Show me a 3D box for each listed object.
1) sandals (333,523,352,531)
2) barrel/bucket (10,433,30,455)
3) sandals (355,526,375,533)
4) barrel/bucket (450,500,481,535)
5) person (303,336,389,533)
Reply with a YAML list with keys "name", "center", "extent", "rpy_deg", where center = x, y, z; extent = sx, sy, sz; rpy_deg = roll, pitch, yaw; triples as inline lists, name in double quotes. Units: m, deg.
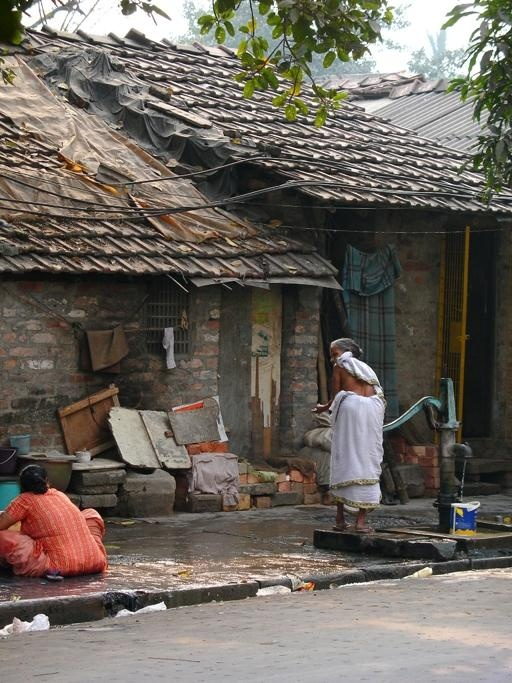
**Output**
- name: "sandals"
  center: [0.706, 1.501, 9.104]
  extent: [0.121, 0.037, 0.070]
  rpy_deg: [0, -4, 34]
- name: "barrel/bucket"
  center: [-2.154, 0.950, 10.368]
  extent: [0.174, 0.141, 0.178]
  rpy_deg: [-1, -7, 0]
- name: "sandals"
  center: [0.869, 1.494, 8.942]
  extent: [0.139, 0.032, 0.059]
  rpy_deg: [0, 0, -1]
- name: "barrel/bucket"
  center: [1.697, 1.417, 8.998]
  extent: [0.197, 0.265, 0.388]
  rpy_deg: [-3, -2, 41]
- name: "person"
  center: [0.780, 0.747, 9.097]
  extent: [0.487, 1.523, 0.445]
  rpy_deg: [-3, 0, 27]
